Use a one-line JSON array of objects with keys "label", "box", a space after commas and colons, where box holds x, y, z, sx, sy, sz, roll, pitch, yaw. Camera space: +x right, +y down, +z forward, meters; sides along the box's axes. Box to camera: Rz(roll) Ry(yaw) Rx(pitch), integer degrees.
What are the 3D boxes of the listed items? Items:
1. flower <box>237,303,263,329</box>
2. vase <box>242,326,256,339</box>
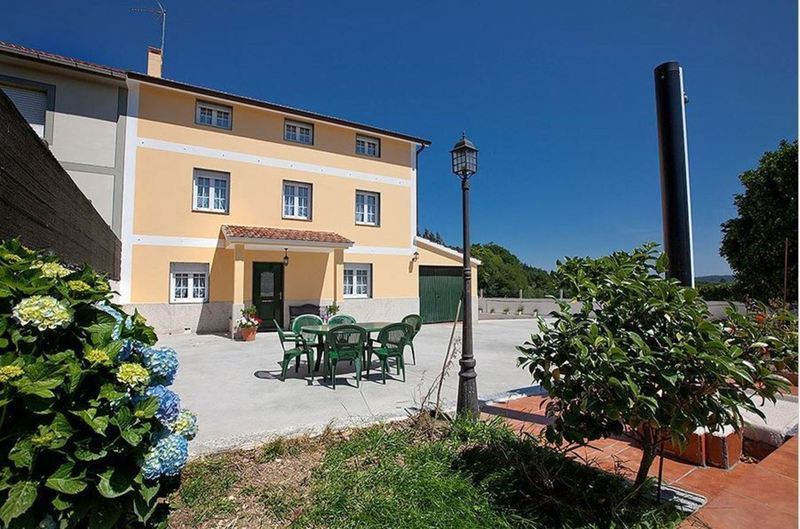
[{"label": "flower", "box": [-4.615, 1.600, 14.769, 0.791, 1.289, 0.830, 0, 0, -21]}, {"label": "vase", "box": [-4.487, 2.002, 14.202, 0.380, 0.393, 0.265, -6, 13, -19]}]
